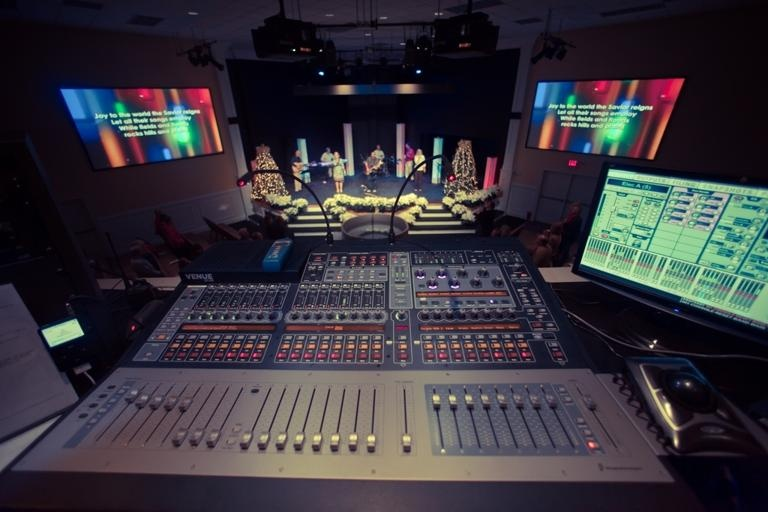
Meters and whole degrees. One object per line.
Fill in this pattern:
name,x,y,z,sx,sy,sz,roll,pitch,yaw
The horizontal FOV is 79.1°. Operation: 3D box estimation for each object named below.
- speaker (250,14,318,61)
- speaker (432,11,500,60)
speaker,-1.308,-2.660,6.004,0.793,0.464,0.689,-14,25,-33
speaker,1.033,-2.833,5.969,0.807,0.512,0.441,4,25,8
